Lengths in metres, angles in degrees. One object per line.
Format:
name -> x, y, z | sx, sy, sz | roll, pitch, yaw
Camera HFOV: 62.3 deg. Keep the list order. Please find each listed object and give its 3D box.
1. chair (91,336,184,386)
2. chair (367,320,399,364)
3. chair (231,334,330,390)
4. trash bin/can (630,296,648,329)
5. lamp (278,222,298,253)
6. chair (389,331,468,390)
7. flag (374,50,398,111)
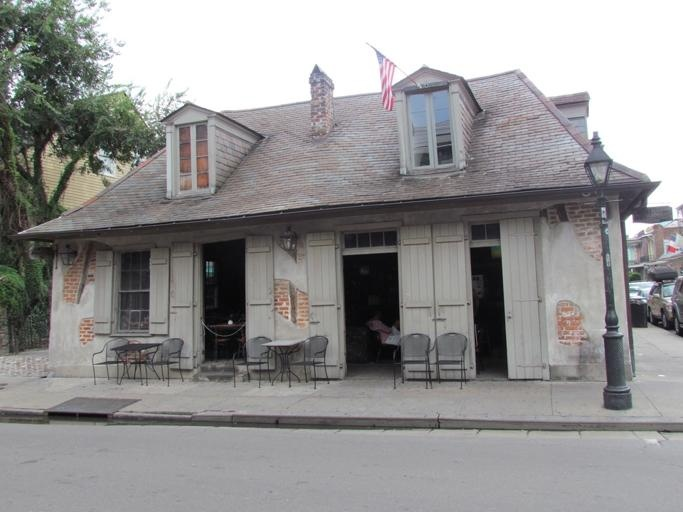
chair -> -4.851, 2.421, 13.172 | 2.339, 1.001, 0.862 | -2, 2, 14
chair -> 1.085, 2.021, 14.154 | 1.050, 1.162, 0.949 | -5, -6, 3
chair -> -1.423, 2.279, 12.529 | 2.251, 1.006, 0.827 | -2, 2, 20
trash bin/can -> 10.640, 2.025, 20.091 | 0.466, 1.003, 0.487 | -2, 3, 22
lamp -> -1.196, -0.383, 12.651 | 0.441, 0.618, 0.390 | -2, 2, 7
chair -> 1.829, 2.100, 11.668 | 1.540, 1.023, 0.835 | -2, 2, 24
flag -> 1.046, -4.063, 12.981 | 0.400, 1.331, 1.730 | -3, 2, 6
